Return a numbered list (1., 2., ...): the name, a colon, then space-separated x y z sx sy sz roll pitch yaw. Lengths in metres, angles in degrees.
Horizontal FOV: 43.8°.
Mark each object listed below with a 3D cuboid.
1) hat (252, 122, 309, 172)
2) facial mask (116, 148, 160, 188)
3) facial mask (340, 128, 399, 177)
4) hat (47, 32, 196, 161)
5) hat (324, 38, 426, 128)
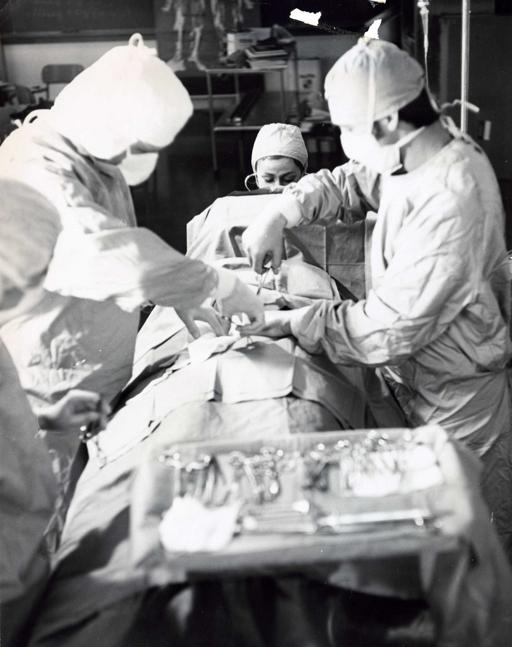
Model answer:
1. hat: 0.040 -0.291 1.013 0.058 0.062 0.066 5 50 0
2. facial mask: -0.177 -0.241 0.969 0.044 0.057 0.014 36 6 7
3. facial mask: 0.179 -0.271 0.993 0.090 0.074 0.021 -1 24 8
4. hat: -0.200 -0.339 0.946 0.203 0.169 0.057 -12 25 -17
5. hat: 0.178 -0.367 0.964 0.143 0.128 0.053 2 24 15
